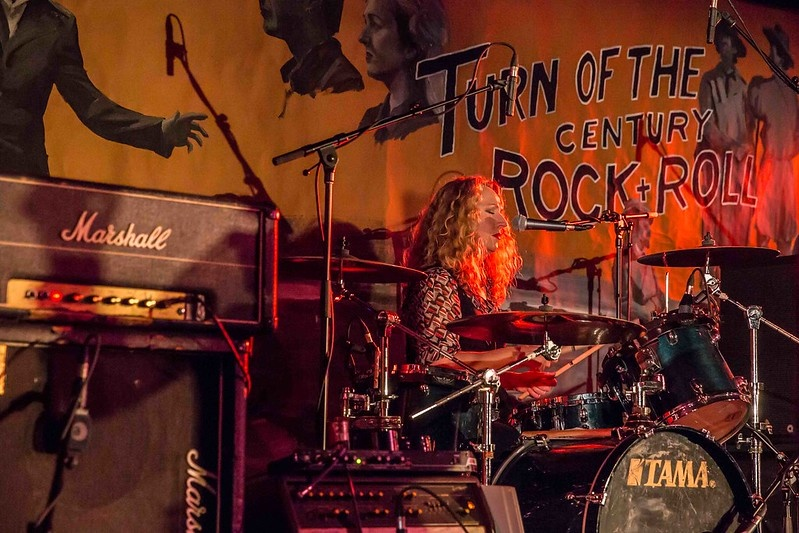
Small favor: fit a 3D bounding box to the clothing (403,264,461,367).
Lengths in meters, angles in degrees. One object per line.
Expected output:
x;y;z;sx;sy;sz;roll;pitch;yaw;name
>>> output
0.173;0.271;6.493;0.201;0.390;0.390;8;-26;-14;clothing
